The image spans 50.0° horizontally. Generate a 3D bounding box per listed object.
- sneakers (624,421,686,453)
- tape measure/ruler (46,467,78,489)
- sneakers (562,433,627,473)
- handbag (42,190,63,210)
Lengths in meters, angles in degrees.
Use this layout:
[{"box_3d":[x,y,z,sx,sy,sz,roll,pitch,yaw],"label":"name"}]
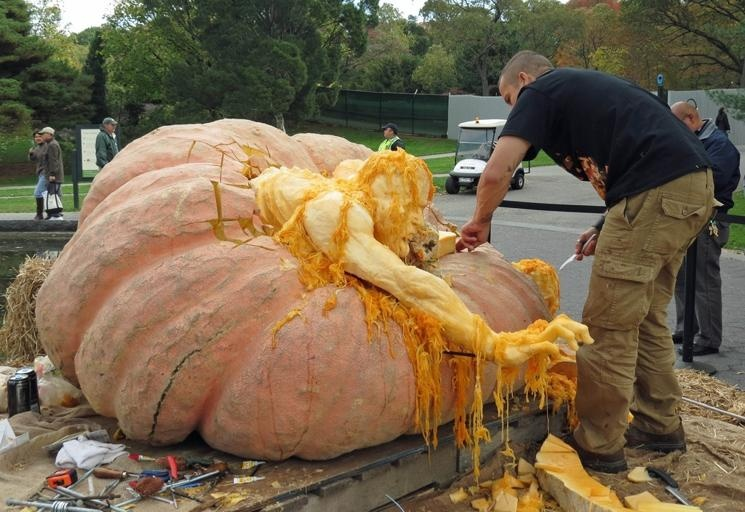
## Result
[{"box_3d":[2.106,1.391,6.058,0.511,0.198,0.183,5,7,16],"label":"sneakers"},{"box_3d":[-2.122,1.513,5.438,0.143,0.056,0.132,-7,6,-4],"label":"tape measure/ruler"},{"box_3d":[1.587,1.450,5.831,0.494,0.192,0.173,2,2,4],"label":"sneakers"},{"box_3d":[-5.903,-1.056,14.649,0.381,0.380,0.187,-7,15,-27],"label":"handbag"}]
